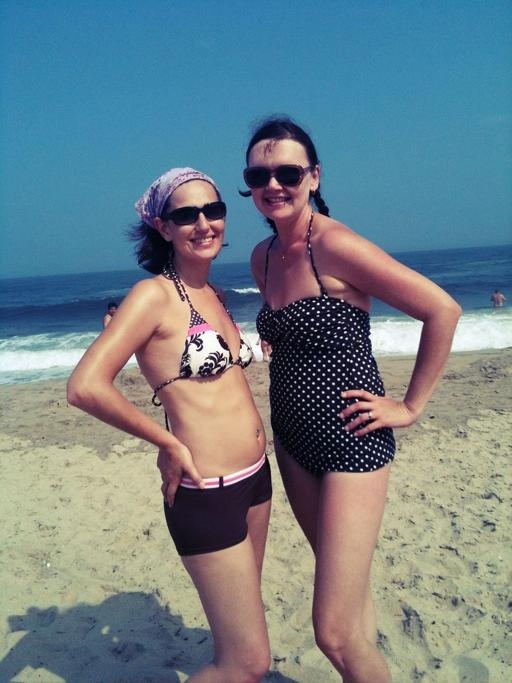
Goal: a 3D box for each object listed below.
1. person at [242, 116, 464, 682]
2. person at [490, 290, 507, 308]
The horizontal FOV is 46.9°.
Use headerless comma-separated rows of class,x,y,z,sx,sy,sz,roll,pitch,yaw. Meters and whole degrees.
person,0.424,0.152,2.675,0.692,2.372,1.088,-4,11,-19
person,9.426,-1.684,23.127,0.397,0.676,0.890,3,10,15
